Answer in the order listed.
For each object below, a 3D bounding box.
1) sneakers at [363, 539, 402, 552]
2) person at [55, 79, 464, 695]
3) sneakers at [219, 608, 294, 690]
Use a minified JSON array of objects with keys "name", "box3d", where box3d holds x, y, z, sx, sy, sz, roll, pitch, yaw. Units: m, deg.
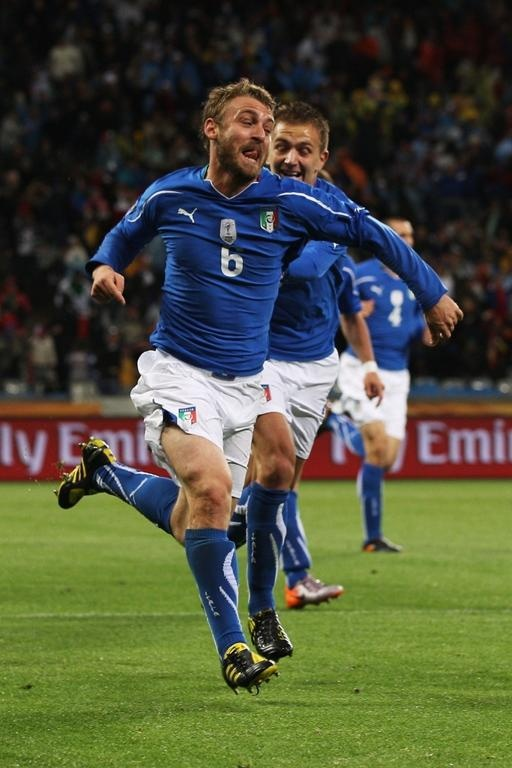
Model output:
[{"name":"sneakers","box3d":[0.697,0.899,5.557,0.164,0.053,0.077,-2,-3,12]},{"name":"person","box3d":[-0.028,-0.084,3.120,0.797,1.787,0.790,-5,3,-35]},{"name":"sneakers","box3d":[0.006,0.780,2.826,0.132,0.157,0.326,-1,-20,-15]}]
